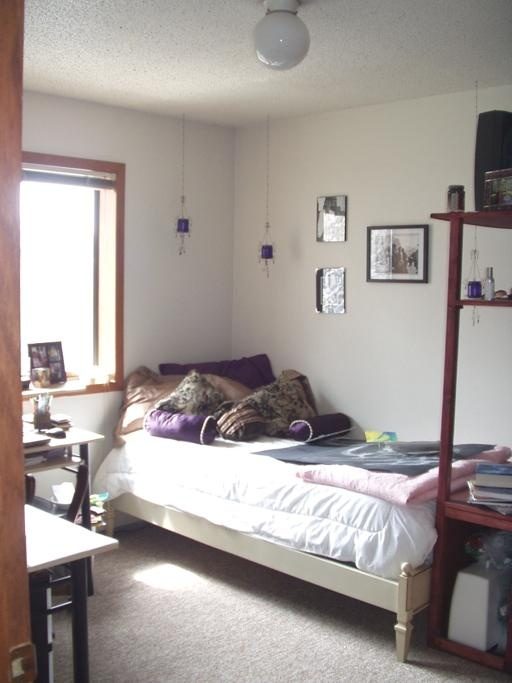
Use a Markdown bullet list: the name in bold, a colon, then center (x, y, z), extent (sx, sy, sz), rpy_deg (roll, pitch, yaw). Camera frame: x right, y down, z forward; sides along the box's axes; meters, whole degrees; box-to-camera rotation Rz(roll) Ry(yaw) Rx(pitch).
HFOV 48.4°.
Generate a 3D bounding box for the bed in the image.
- **bed**: center (0.112, 0.758, 2.757), extent (1.251, 0.445, 0.809), rpy_deg (6, 7, 41)

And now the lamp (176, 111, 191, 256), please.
- **lamp**: center (-0.543, -1.147, 4.283), extent (0.086, 0.990, 0.166), rpy_deg (0, 0, 13)

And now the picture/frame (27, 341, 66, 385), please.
- **picture/frame**: center (-1.280, 0.138, 3.468), extent (0.018, 0.300, 0.248), rpy_deg (-10, -7, 37)

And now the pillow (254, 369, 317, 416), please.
- **pillow**: center (0.242, 0.320, 3.915), extent (0.100, 0.322, 0.298), rpy_deg (-10, 13, -38)

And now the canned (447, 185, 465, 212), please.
- **canned**: center (0.770, -0.555, 2.197), extent (0.057, 0.132, 0.157), rpy_deg (0, 0, 17)

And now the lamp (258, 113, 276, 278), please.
- **lamp**: center (0.081, -1.085, 4.388), extent (0.083, 1.169, 0.178), rpy_deg (0, 0, -34)

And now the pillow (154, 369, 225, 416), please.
- **pillow**: center (-0.421, 0.370, 3.845), extent (0.478, 0.141, 0.497), rpy_deg (-21, 5, 20)

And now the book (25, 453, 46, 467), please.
- **book**: center (-1.085, 0.586, 2.804), extent (0.052, 0.045, 0.141), rpy_deg (0, 0, 18)

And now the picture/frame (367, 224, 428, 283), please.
- **picture/frame**: center (0.910, -0.555, 3.593), extent (0.014, 0.357, 0.355), rpy_deg (-5, 8, -38)

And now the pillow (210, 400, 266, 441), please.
- **pillow**: center (-0.100, 0.491, 3.551), extent (0.254, 0.119, 0.199), rpy_deg (-6, 2, -39)
